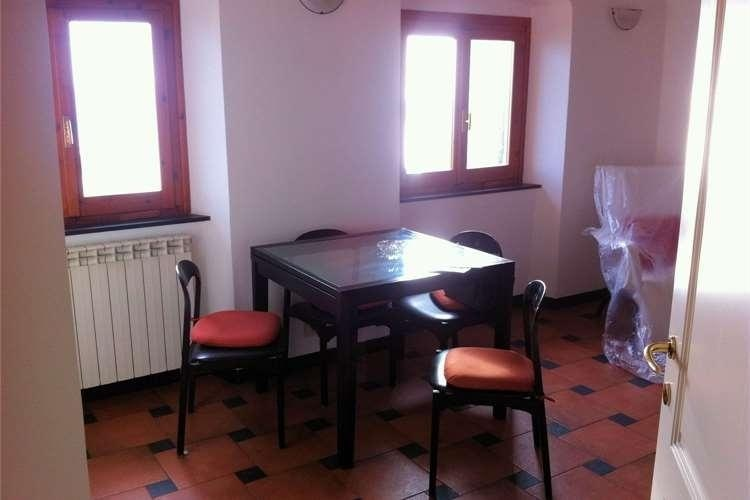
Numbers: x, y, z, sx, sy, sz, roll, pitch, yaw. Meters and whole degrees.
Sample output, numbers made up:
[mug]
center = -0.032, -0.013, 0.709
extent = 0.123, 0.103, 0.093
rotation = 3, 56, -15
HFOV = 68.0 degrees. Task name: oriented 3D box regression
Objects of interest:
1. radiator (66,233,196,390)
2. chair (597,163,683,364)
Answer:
[radiator]
center = -1.402, 0.317, 3.163
extent = 0.916, 0.867, 0.129
rotation = -6, 12, -34
[chair]
center = 1.874, 0.081, 3.970
extent = 0.586, 1.306, 0.615
rotation = 1, 15, 15
